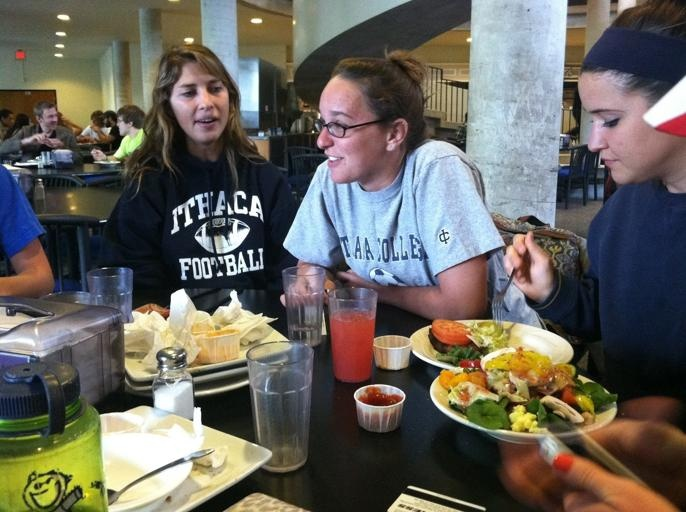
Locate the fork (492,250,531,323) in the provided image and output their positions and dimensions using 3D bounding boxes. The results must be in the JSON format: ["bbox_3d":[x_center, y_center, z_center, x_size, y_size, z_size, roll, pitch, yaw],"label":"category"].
[{"bbox_3d":[0.506,0.097,1.589,0.040,0.245,0.034,-9,-7,30],"label":"fork"}]

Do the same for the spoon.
[{"bbox_3d":[-0.269,0.328,0.782,0.183,0.026,0.039,-27,34,-28],"label":"spoon"}]

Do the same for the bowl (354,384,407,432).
[{"bbox_3d":[0.064,0.263,0.977,0.079,0.042,0.079,-1,15,0],"label":"bowl"}]

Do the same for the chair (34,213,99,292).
[{"bbox_3d":[-1.270,-0.020,2.430,0.312,0.332,0.292,2,18,-2],"label":"chair"}]

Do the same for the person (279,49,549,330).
[{"bbox_3d":[0.342,-0.203,1.964,0.889,0.954,0.931,0,-1,-30],"label":"person"}]

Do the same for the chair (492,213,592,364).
[{"bbox_3d":[0.690,0.095,1.891,0.426,0.476,0.364,2,-8,21],"label":"chair"}]

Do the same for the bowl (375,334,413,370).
[{"bbox_3d":[0.106,0.222,1.225,0.086,0.056,0.088,-1,13,0],"label":"bowl"}]

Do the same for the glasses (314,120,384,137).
[{"bbox_3d":[0.017,-0.413,1.730,0.113,0.033,0.110,-6,10,-32],"label":"glasses"}]
